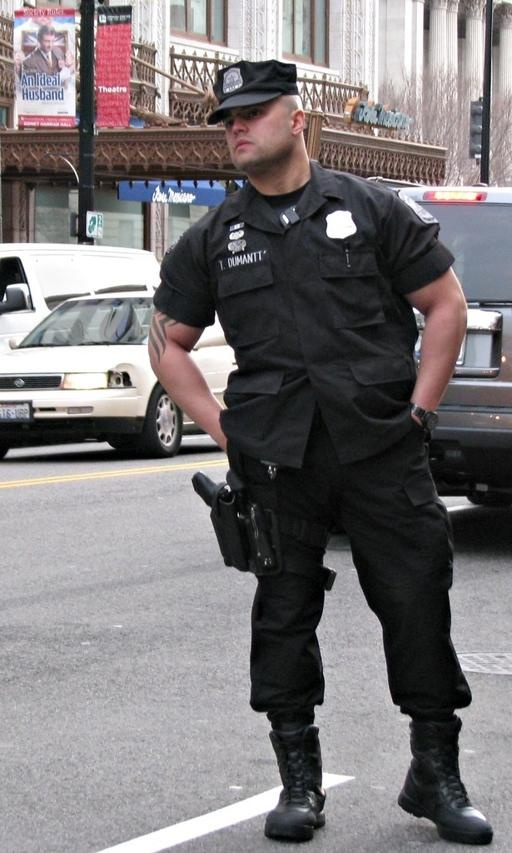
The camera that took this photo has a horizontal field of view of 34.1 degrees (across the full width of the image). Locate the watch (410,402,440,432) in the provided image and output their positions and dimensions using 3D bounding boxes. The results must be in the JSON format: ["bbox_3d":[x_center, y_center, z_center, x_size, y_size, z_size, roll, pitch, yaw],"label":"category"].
[{"bbox_3d":[0.359,-0.024,1.809,0.059,0.034,0.059,34,-9,-23],"label":"watch"}]

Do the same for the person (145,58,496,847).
[{"bbox_3d":[0.100,0.039,1.869,0.730,1.700,0.417,-2,-6,14],"label":"person"}]

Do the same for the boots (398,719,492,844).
[{"bbox_3d":[0.417,0.758,1.825,0.122,0.227,0.234,2,-6,-20],"label":"boots"}]

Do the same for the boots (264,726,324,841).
[{"bbox_3d":[0.088,0.794,1.852,0.099,0.229,0.241,-10,-20,18],"label":"boots"}]
